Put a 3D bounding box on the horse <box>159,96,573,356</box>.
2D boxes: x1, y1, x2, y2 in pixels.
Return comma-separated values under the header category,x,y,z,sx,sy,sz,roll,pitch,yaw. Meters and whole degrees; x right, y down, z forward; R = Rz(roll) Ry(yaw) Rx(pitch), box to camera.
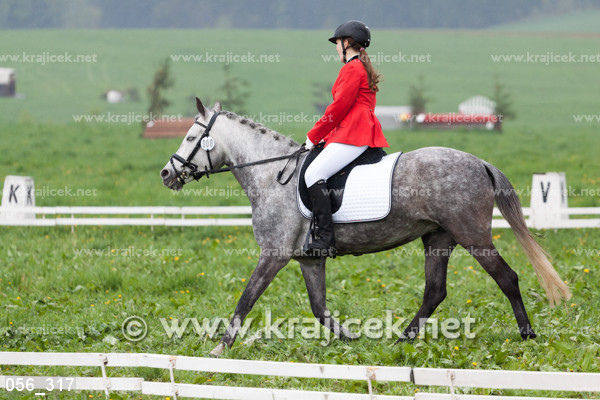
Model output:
category,x,y,z,sx,sy,sz,roll,pitch,yaw
horse,2.146,0.793,34.688,13.257,6.767,3.178,-1,0,17
